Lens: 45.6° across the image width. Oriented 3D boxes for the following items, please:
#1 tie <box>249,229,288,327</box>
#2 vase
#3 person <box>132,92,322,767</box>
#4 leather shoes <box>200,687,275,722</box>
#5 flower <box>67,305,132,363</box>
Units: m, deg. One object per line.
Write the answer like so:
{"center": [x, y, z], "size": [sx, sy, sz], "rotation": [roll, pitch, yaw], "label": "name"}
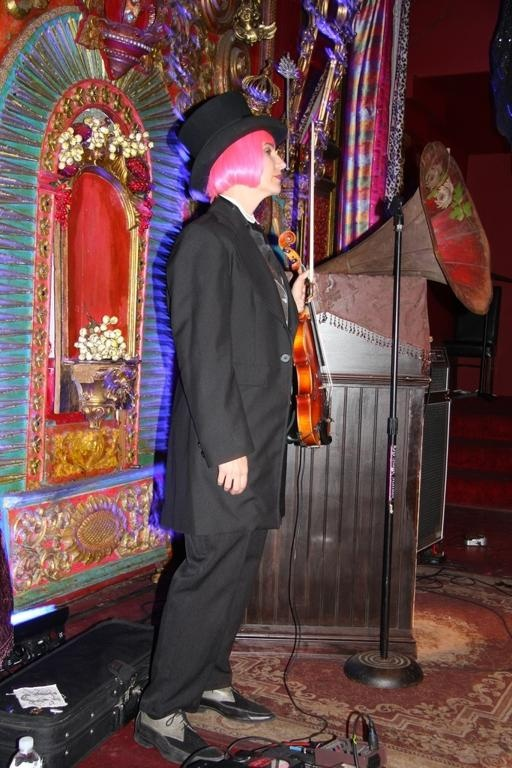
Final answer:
{"center": [0.046, -0.278, 1.603], "size": [0.056, 0.236, 0.124], "rotation": [-22, -3, 1], "label": "tie"}
{"center": [-0.649, 0.045, 2.561], "size": [0.282, 0.311, 0.302], "rotation": [-1, -2, 32], "label": "vase"}
{"center": [-0.093, 0.061, 1.527], "size": [0.370, 1.678, 0.462], "rotation": [0, -4, 23], "label": "person"}
{"center": [-0.055, 0.871, 1.651], "size": [0.218, 0.074, 0.080], "rotation": [0, -1, 16], "label": "leather shoes"}
{"center": [-0.649, -0.204, 2.535], "size": [0.205, 0.070, 0.202], "rotation": [-12, 24, -29], "label": "flower"}
